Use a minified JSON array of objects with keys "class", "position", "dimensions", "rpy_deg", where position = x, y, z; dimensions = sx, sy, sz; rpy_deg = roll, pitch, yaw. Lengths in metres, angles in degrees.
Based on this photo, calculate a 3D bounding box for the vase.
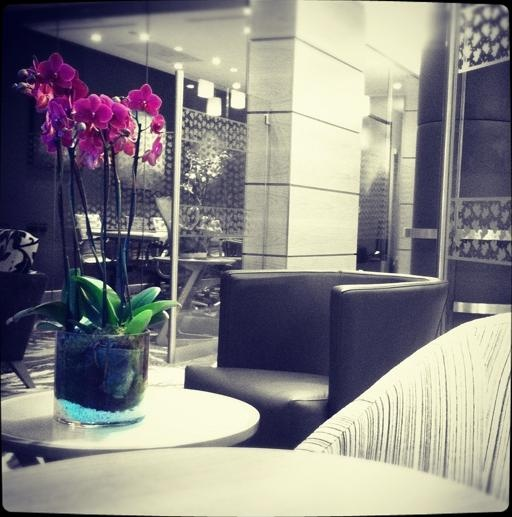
[{"class":"vase","position":[-0.279,0.198,0.958],"dimensions":[0.157,0.192,0.161],"rpy_deg":[1,1,-18]}]

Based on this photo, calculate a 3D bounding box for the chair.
[{"class":"chair","position":[0.276,0.274,1.831],"dimensions":[0.722,0.897,0.575],"rpy_deg":[7,-4,-43]}]
